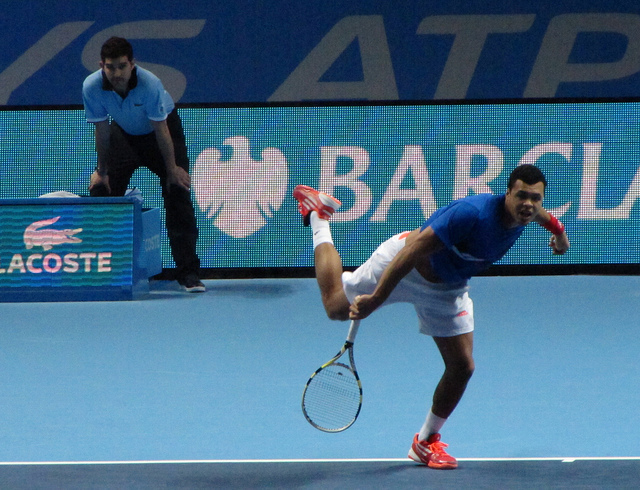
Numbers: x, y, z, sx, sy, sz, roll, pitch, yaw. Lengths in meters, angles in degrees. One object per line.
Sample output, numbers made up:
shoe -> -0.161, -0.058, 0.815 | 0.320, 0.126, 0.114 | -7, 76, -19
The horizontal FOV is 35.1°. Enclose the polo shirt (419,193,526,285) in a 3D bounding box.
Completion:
polo shirt -> 0.984, -0.064, 6.523 | 0.236, 0.607, 0.533 | 54, 25, 12

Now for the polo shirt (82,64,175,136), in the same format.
polo shirt -> -1.883, -1.509, 9.862 | 0.801, 0.797, 0.557 | -1, 50, -1
